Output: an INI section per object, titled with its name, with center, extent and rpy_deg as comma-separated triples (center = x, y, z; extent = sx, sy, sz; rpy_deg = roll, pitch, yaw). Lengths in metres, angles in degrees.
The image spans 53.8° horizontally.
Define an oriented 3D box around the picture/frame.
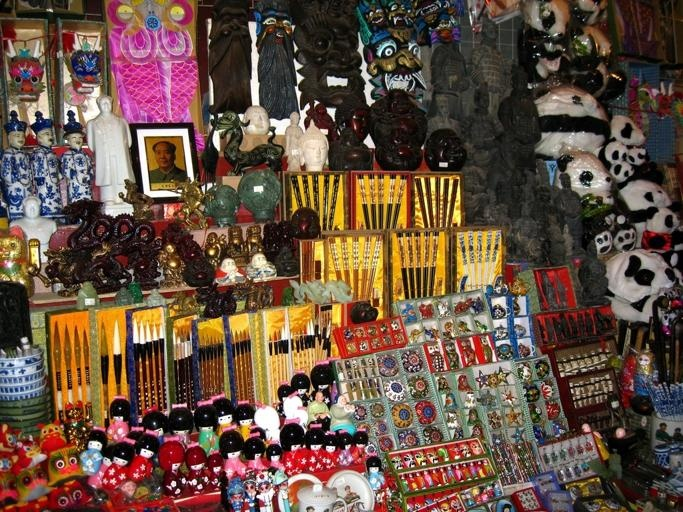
[picture/frame]
center = -1.299, -0.659, 4.867
extent = 0.532, 0.047, 0.698
rpy_deg = -5, 83, -28
